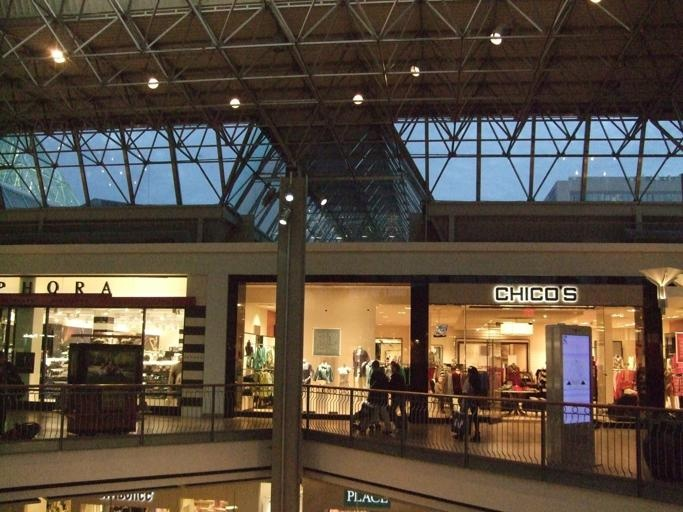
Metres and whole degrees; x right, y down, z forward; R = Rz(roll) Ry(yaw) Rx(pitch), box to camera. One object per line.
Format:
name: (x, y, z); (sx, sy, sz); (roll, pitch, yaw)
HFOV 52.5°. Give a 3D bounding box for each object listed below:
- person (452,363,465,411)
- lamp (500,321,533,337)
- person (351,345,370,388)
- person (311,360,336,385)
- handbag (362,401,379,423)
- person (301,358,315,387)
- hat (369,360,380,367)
person: (3.747, 4.205, 22.440); (0.429, 1.632, 0.448); (-6, 29, 1)
lamp: (5.623, 2.370, 22.557); (0.785, 0.390, 0.464); (1, -3, 2)
person: (0.672, 3.827, 23.444); (0.584, 1.547, 0.366); (3, 22, 7)
person: (-0.597, 3.994, 23.507); (0.689, 0.747, 0.200); (1, 1, 11)
handbag: (0.715, 3.966, 17.604); (0.387, 0.821, 0.429); (-1, -9, 16)
person: (-1.105, 3.873, 23.202); (0.318, 0.810, 0.871); (-1, -9, 1)
hat: (0.945, 3.124, 19.800); (0.251, 0.189, 0.325); (3, -18, -42)
